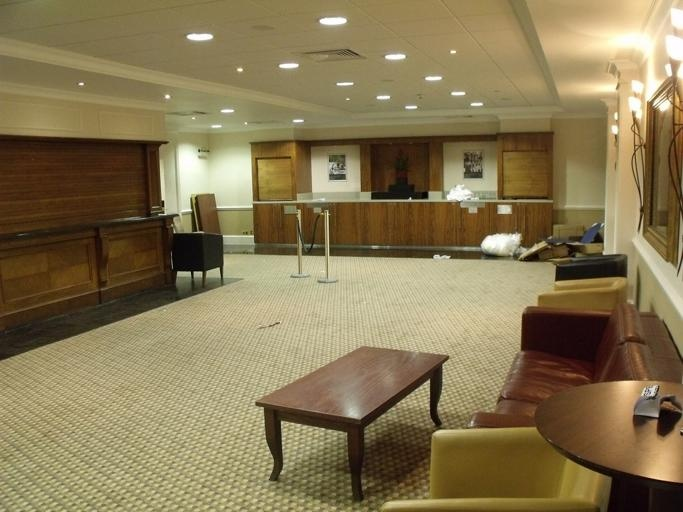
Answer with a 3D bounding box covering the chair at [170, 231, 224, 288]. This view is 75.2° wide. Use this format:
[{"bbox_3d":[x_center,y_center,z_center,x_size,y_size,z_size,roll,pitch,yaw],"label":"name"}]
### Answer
[{"bbox_3d":[-2.920,0.022,9.053,0.969,0.959,0.919,-1,7,-4],"label":"chair"}]
